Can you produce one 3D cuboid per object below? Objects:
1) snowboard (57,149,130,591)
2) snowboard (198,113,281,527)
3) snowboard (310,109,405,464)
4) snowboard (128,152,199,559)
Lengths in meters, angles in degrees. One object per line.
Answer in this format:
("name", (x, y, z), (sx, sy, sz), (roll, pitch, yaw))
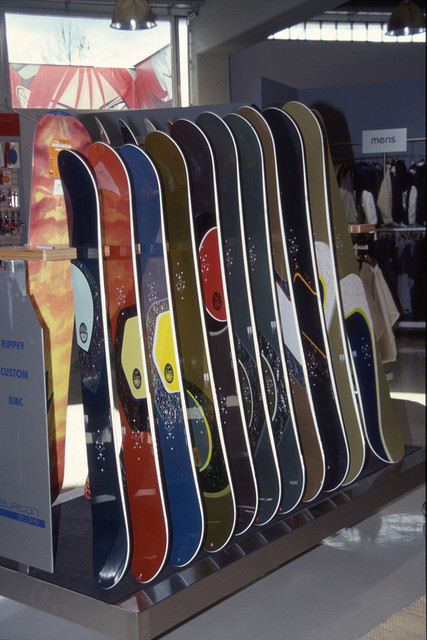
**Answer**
("snowboard", (-0.271, 0.085, 1.022), (0.222, 0.954, 0.095), (-3, -4, 44))
("snowboard", (0.080, -0.007, 1.341), (0.144, 1.601, 0.167), (-3, 1, 35))
("snowboard", (0.698, -0.261, 2.215), (0.161, 2.365, 0.136), (-4, 4, 26))
("snowboard", (-0.110, 0.135, 1.108), (0.097, 1.485, 0.072), (-4, -1, -1))
